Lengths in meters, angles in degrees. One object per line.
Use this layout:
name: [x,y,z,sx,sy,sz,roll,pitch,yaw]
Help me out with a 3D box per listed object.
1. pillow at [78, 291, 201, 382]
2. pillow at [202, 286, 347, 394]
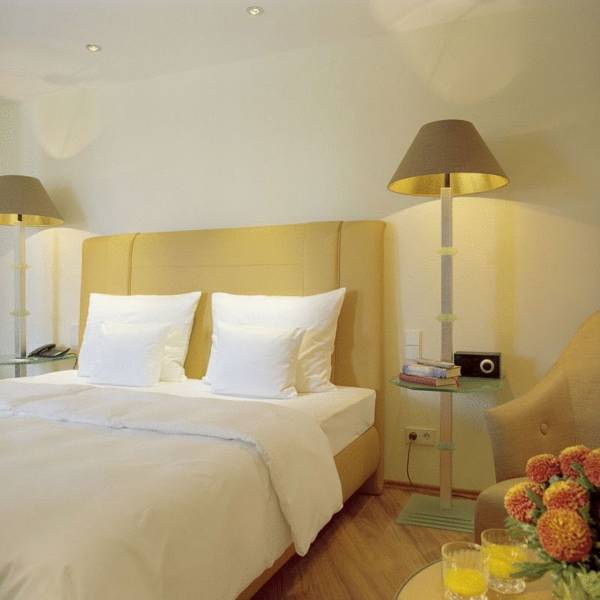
pillow: [-0.827,0.115,2.754,0.528,0.526,0.168,1,-24,21]
pillow: [-0.096,0.195,2.471,0.440,0.339,0.161,-2,-6,24]
